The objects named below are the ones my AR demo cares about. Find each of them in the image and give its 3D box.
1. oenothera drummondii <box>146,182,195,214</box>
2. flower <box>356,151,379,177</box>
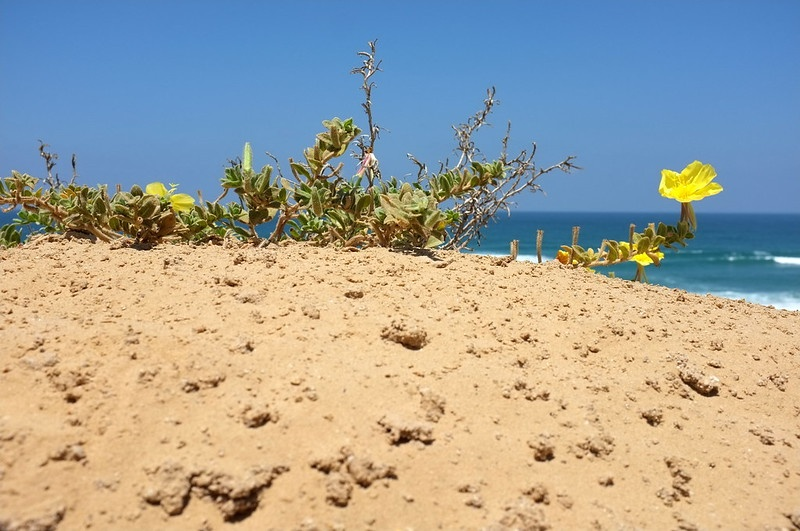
[{"bbox_3d":[-1.504,-0.434,5.187,0.308,0.208,0.508,0,10,-18],"label":"oenothera drummondii"},{"bbox_3d":[-0.218,-0.703,5.431,0.115,0.168,0.318,3,10,-3],"label":"flower"}]
